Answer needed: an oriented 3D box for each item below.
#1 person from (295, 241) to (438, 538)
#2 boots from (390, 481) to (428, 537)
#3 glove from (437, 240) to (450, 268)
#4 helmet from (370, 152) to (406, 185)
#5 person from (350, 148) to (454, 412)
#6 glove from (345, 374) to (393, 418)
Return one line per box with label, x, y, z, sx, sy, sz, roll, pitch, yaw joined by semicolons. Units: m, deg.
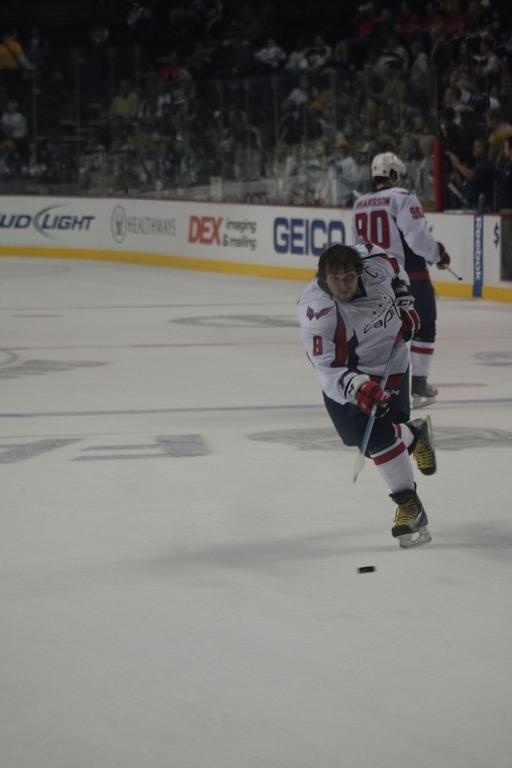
person;0.486;0.019;3.722;0.548;1.250;0.894;1;14;12
boots;0.604;0.530;3.487;0.092;0.180;0.283;-16;-2;33
glove;1.571;-1.083;7.191;0.113;0.144;0.330;-23;20;15
helmet;1.049;-1.760;7.033;0.307;0.258;0.225;-2;15;-38
person;1.430;-0.893;7.189;0.778;1.959;0.797;-13;9;-3
glove;0.454;0.049;3.381;0.143;0.082;0.182;16;-1;36
